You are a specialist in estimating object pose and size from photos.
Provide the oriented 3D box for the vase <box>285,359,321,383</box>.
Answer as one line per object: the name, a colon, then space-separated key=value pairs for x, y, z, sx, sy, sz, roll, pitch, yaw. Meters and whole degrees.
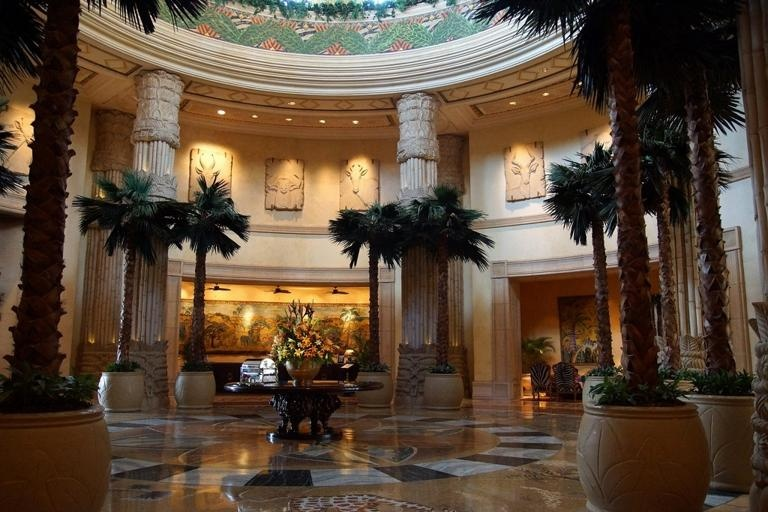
vase: x=-1.364 y=1.879 z=8.729 sx=0.455 sy=0.309 sz=0.455 roll=-8 pitch=-12 yaw=36

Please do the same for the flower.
flower: x=-1.331 y=1.290 z=8.748 sx=0.998 sy=0.912 sz=0.516 roll=1 pitch=-10 yaw=-13

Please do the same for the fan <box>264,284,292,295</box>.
fan: x=-3.635 y=1.159 z=18.783 sx=0.666 sy=0.292 sz=0.721 roll=1 pitch=-10 yaw=-15
